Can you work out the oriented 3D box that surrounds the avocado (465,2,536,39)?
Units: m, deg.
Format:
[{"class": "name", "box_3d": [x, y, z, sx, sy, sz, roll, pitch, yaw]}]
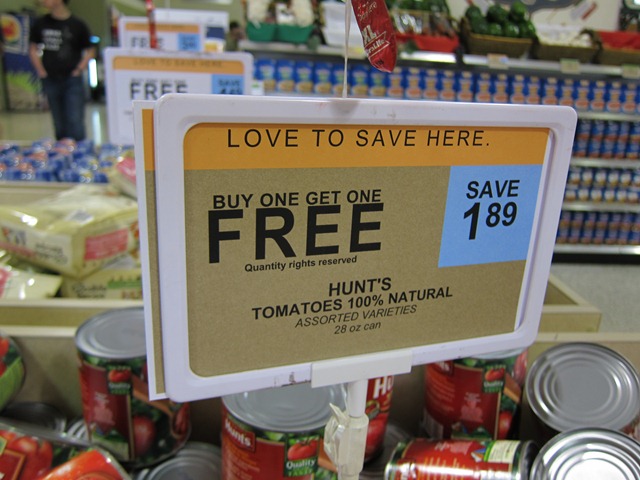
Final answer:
[{"class": "avocado", "box_3d": [1.344, -1.628, 4.338, 0.363, 0.134, 0.383, 7, 30, 0]}]
